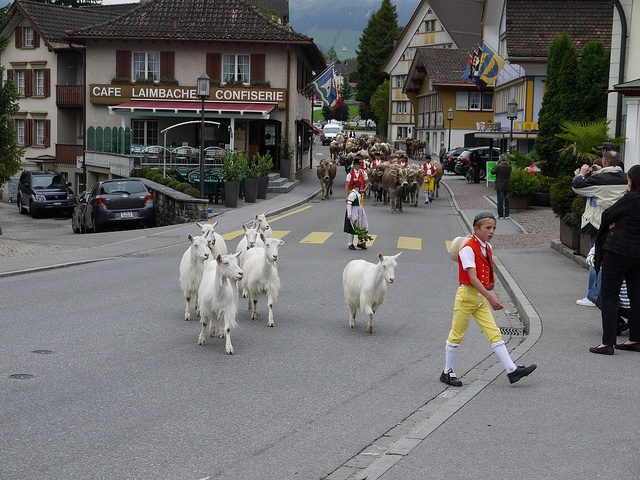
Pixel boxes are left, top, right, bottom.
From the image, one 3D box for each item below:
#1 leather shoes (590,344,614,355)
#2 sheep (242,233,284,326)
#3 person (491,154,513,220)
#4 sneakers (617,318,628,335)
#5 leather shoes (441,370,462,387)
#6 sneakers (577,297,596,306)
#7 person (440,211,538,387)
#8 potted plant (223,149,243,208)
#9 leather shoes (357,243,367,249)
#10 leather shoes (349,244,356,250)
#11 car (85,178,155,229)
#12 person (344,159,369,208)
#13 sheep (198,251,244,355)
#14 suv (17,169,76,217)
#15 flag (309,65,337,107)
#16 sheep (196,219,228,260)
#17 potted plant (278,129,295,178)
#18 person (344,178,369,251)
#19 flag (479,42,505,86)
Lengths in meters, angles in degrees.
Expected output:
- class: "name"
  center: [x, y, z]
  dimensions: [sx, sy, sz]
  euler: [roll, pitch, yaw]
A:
- class: "leather shoes"
  center: [4.383, 1.688, 9.623]
  dimensions: [0.316, 0.152, 0.136]
  euler: [6, 10, 25]
- class: "sheep"
  center: [-1.082, 0.725, 11.851]
  dimensions: [0.513, 1.624, 1.270]
  euler: [-3, 8, -27]
- class: "person"
  center: [7.679, -2.277, 26.151]
  dimensions: [0.708, 2.669, 1.132]
  euler: [2, 7, 18]
- class: "sneakers"
  center: [5.169, 1.481, 10.590]
  dimensions: [0.149, 0.263, 0.545]
  euler: [-3, -5, 13]
- class: "leather shoes"
  center: [1.811, 1.894, 8.492]
  dimensions: [0.137, 0.184, 0.307]
  euler: [-4, 7, -39]
- class: "sneakers"
  center: [5.311, 1.217, 12.358]
  dimensions: [0.308, 0.161, 0.121]
  euler: [5, 7, 24]
- class: "person"
  center: [2.245, 0.816, 8.530]
  dimensions: [1.103, 2.387, 1.009]
  euler: [2, 7, 19]
- class: "potted plant"
  center: [-4.247, -3.001, 30.280]
  dimensions: [0.919, 2.582, 2.044]
  euler: [-1, 7, -8]
- class: "leather shoes"
  center: [1.324, 0.178, 19.599]
  dimensions: [0.353, 0.144, 0.266]
  euler: [3, -27, -12]
- class: "leather shoes"
  center: [1.042, 0.216, 19.811]
  dimensions: [0.106, 0.152, 0.205]
  euler: [-2, 1, -28]
- class: "car"
  center: [-7.758, -1.404, 24.305]
  dimensions: [1.458, 1.427, 2.764]
  euler: [-2, 8, -17]
- class: "person"
  center: [1.257, -1.795, 20.971]
  dimensions: [0.687, 2.223, 0.642]
  euler: [3, 24, 10]
- class: "sheep"
  center: [-1.701, 0.981, 10.256]
  dimensions: [0.668, 1.560, 1.421]
  euler: [-2, 8, -19]
- class: "suv"
  center: [-17.782, -3.026, 39.937]
  dimensions: [2.516, 2.668, 4.856]
  euler: [-2, 2, -28]
- class: "flag"
  center: [0.393, -10.309, 41.260]
  dimensions: [1.733, 2.848, 3.959]
  euler: [0, 8, 1]
- class: "sheep"
  center: [-2.249, -0.040, 13.142]
  dimensions: [0.381, 0.979, 1.310]
  euler: [-13, -11, -2]
- class: "potted plant"
  center: [-2.218, -5.477, 40.931]
  dimensions: [0.881, 2.589, 0.608]
  euler: [0, 6, -3]
- class: "person"
  center: [1.131, -0.733, 19.516]
  dimensions: [0.643, 2.082, 1.403]
  euler: [0, 7, 2]
- class: "flag"
  center: [11.721, -12.122, 42.405]
  dimensions: [1.519, 2.573, 0.804]
  euler: [2, 7, 18]
